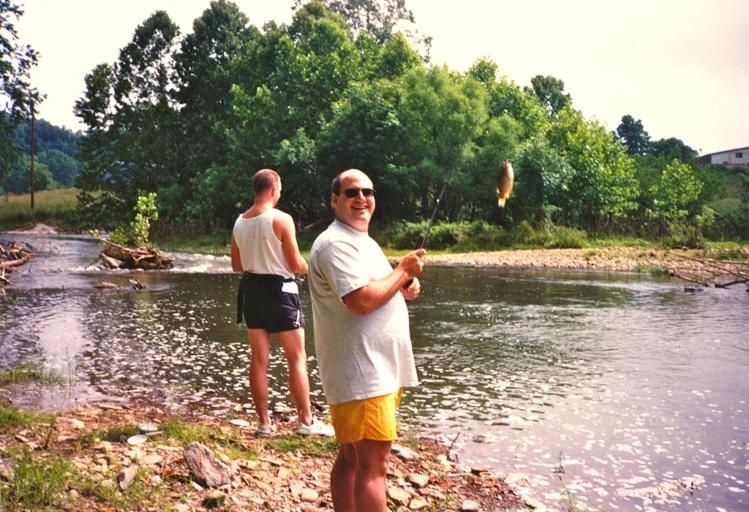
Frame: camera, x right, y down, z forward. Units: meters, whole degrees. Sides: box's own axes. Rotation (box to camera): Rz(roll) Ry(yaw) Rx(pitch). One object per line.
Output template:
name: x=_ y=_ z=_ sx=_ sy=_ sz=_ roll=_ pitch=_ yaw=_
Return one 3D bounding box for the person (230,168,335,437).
person: x=-1.240 y=0.576 z=8.642 sx=1.398 sy=3.502 sz=1.027 roll=0 pitch=0 yaw=18
